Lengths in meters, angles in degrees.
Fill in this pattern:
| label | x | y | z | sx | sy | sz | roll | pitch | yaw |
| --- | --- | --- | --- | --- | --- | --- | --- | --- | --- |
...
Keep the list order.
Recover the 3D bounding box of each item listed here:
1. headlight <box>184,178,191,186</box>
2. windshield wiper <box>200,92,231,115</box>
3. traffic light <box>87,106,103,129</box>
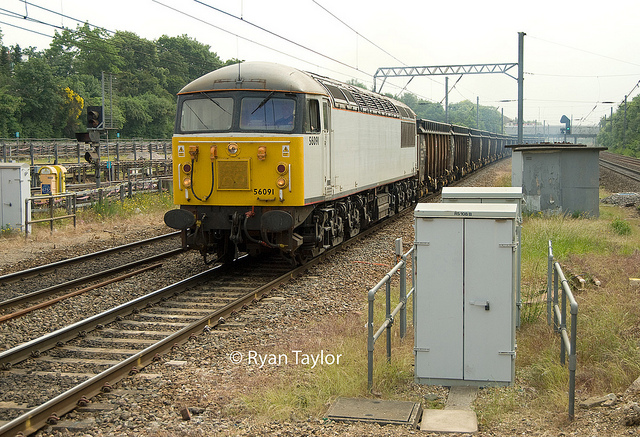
| label | x | y | z | sx | sy | sz | roll | pitch | yaw |
| --- | --- | --- | --- | --- | --- | --- | --- | --- | --- |
| headlight | -3.213 | -0.900 | 12.699 | 0.166 | 0.164 | 0.039 | 0 | 10 | 14 |
| windshield wiper | -2.516 | -2.805 | 12.756 | 0.822 | 0.065 | 0.037 | 42 | 58 | 10 |
| traffic light | -8.921 | -4.022 | 20.795 | 0.514 | 0.854 | 0.667 | 1 | 10 | 17 |
